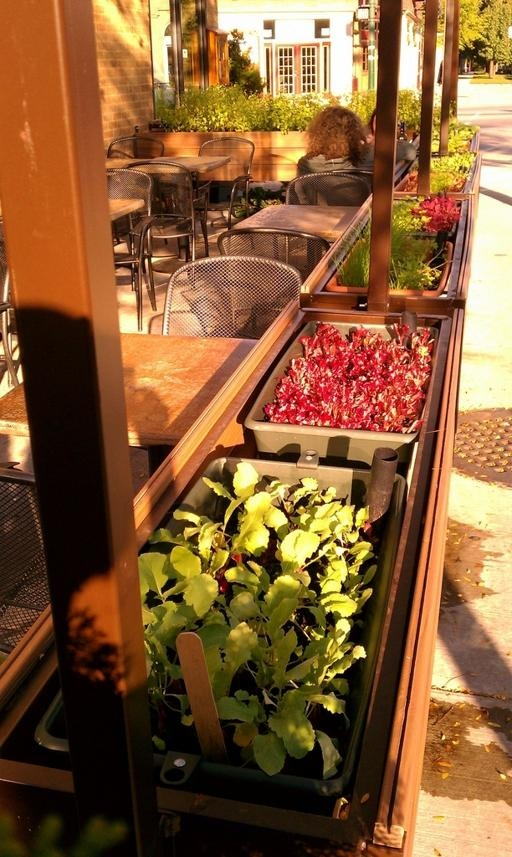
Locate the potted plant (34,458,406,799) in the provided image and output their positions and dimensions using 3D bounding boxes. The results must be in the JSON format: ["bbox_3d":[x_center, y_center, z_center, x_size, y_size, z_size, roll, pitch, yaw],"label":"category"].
[{"bbox_3d":[-0.008,0.192,0.833,0.378,0.182,0.625,6,22,17],"label":"potted plant"}]

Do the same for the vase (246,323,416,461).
[{"bbox_3d":[0.111,-0.081,1.516,0.344,0.161,0.644,-5,22,-12],"label":"vase"}]
